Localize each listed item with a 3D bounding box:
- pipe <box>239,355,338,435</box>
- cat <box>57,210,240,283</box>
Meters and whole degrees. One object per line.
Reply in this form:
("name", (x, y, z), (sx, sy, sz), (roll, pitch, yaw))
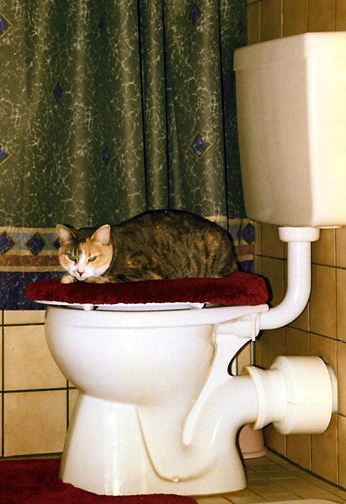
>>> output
("pipe", (0.280, 0.339, 1.484), (0.161, 0.167, 0.207), (-2, 82, -10))
("cat", (-0.046, 0.019, 1.535), (0.434, 0.285, 0.221), (-3, 86, -22))
